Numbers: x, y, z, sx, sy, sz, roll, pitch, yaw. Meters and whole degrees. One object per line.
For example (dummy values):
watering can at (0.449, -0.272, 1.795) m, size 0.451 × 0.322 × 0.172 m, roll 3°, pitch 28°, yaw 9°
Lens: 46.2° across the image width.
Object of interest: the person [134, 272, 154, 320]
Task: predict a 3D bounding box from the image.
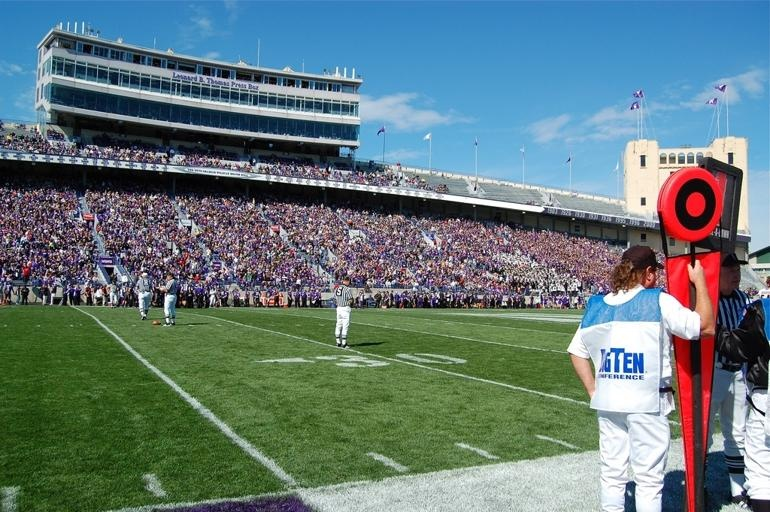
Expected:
person at (-7.847, 1.298, 29.348) m, size 0.523 × 1.502 × 0.655 m, roll -1°, pitch -4°, yaw -2°

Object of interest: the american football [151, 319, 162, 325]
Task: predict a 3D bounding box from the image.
american football at (-7.077, 2.079, 28.014) m, size 0.234 × 0.126 × 0.232 m, roll 4°, pitch 0°, yaw 3°

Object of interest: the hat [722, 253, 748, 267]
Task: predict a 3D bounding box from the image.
hat at (5.873, 0.071, 15.114) m, size 0.237 × 0.108 × 0.356 m, roll -2°, pitch -1°, yaw -30°

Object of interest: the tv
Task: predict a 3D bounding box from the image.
tv at (5.458, -0.803, 14.517) m, size 0.852 × 1.543 × 0.395 m, roll 1°, pitch 3°, yaw -26°

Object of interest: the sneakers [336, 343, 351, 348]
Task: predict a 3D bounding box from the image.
sneakers at (-1.109, 2.368, 23.741) m, size 0.119 × 0.134 × 0.314 m, roll 7°, pitch -9°, yaw -26°

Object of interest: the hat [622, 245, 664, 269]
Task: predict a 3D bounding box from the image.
hat at (4.112, 0.015, 14.335) m, size 0.530 × 0.290 × 0.341 m, roll -7°, pitch 9°, yaw -37°
